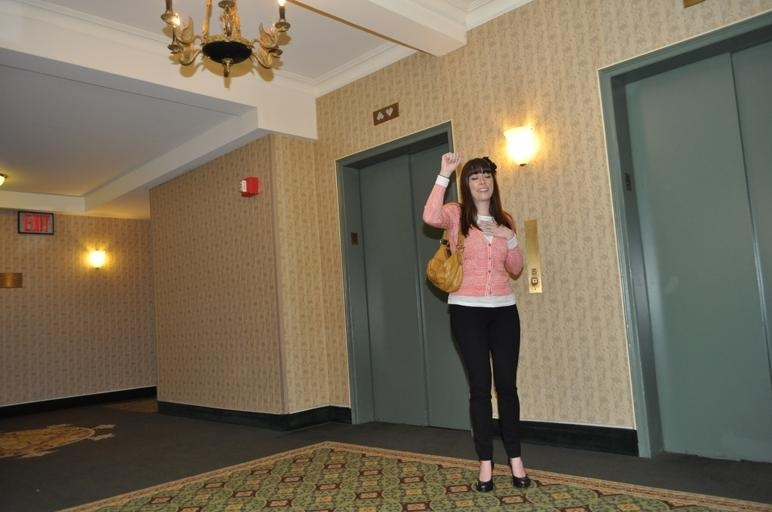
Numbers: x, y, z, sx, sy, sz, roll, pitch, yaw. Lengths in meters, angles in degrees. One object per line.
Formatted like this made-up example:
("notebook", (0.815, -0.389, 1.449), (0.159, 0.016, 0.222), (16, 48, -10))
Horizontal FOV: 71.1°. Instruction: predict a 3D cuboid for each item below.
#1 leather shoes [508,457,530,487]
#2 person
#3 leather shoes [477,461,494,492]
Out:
("leather shoes", (1.041, 1.642, 4.159), (0.165, 0.243, 0.118), (-4, 7, 4))
("person", (0.726, 0.485, 4.213), (0.720, 2.566, 0.549), (-4, 7, 5))
("leather shoes", (0.766, 1.696, 4.193), (0.093, 0.112, 0.277), (-3, 1, 12))
